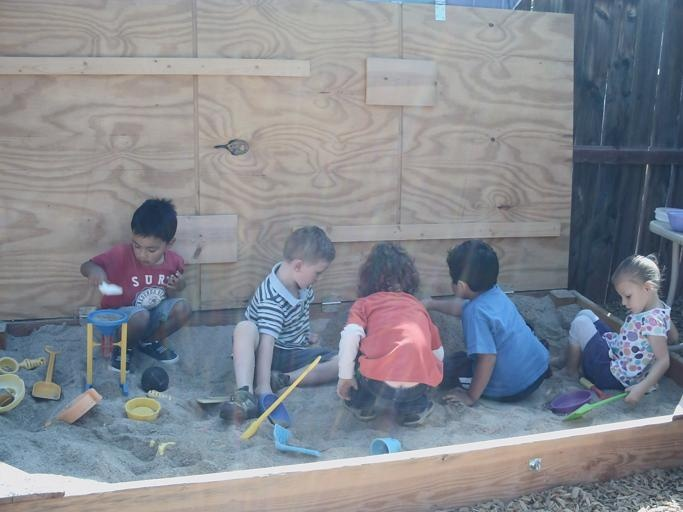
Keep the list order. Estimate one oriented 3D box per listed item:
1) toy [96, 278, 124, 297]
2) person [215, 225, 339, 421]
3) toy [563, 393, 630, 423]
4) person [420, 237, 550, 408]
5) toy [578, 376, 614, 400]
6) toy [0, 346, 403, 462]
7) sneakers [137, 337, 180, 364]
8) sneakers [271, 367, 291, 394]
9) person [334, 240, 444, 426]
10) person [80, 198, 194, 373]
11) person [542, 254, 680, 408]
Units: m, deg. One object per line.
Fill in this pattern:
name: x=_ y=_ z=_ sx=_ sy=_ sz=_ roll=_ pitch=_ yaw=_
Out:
toy: x=-1.392 y=0.200 z=3.888 sx=0.131 sy=0.084 sz=0.064 roll=5 pitch=-4 yaw=-23
person: x=-0.411 y=0.401 z=3.837 sx=0.542 sy=0.683 sz=0.880 roll=20 pitch=23 yaw=32
toy: x=1.388 y=0.811 z=3.465 sx=0.417 sy=0.112 sz=0.101 roll=-4 pitch=10 yaw=-28
person: x=0.776 y=0.423 z=3.833 sx=0.846 sy=0.965 sz=0.613 roll=11 pitch=17 yaw=42
toy: x=1.469 y=0.770 z=3.723 sx=0.063 sy=0.027 sz=0.155 roll=-20 pitch=25 yaw=-15
toy: x=-0.823 y=0.780 z=3.377 sx=1.783 sy=0.308 sz=0.967 roll=0 pitch=8 yaw=-6
sneakers: x=-1.104 y=0.582 z=3.929 sx=0.268 sy=0.109 sz=0.107 roll=20 pitch=32 yaw=10
sneakers: x=-0.353 y=0.712 z=3.664 sx=0.115 sy=0.118 sz=0.088 roll=8 pitch=7 yaw=-25
person: x=0.246 y=0.390 z=3.584 sx=0.745 sy=1.149 sz=0.803 roll=-2 pitch=13 yaw=-5
person: x=-1.258 y=0.170 z=3.988 sx=0.557 sy=0.970 sz=0.678 roll=20 pitch=18 yaw=38
person: x=1.633 y=0.396 z=3.734 sx=0.393 sy=0.803 sz=0.601 roll=-5 pitch=10 yaw=-30
